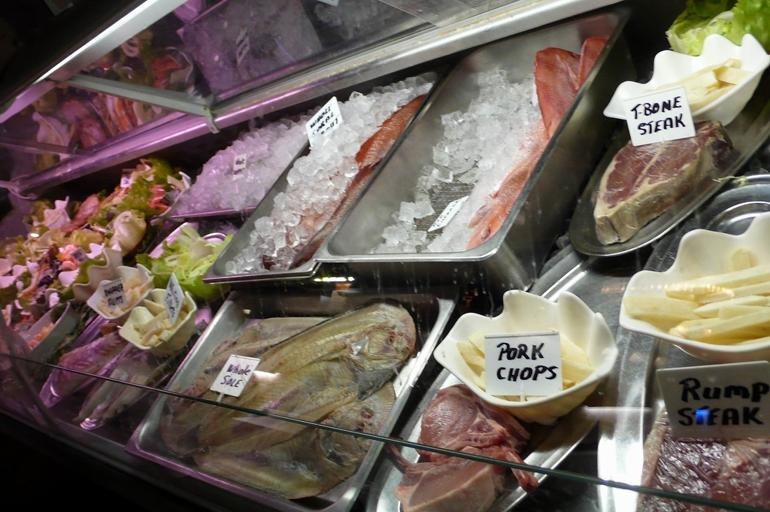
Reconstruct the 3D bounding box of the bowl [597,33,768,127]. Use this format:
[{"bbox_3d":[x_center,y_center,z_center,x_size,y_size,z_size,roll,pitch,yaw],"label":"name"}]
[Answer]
[{"bbox_3d":[0.913,-0.529,1.531,0.333,0.125,0.361,-14,46,15],"label":"bowl"}]
